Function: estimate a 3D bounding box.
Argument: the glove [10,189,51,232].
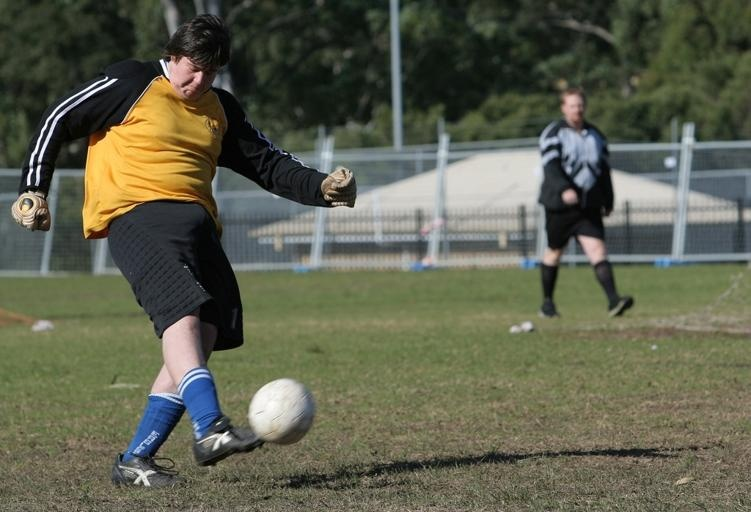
[{"bbox_3d":[-3.384,-0.447,15.479,0.336,0.398,0.196,9,-6,4],"label":"glove"}]

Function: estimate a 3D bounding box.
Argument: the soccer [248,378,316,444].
[{"bbox_3d":[-0.891,1.646,15.660,0.752,0.730,0.709,-8,-6,-15],"label":"soccer"}]

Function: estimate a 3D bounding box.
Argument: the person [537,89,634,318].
[{"bbox_3d":[2.404,-0.617,18.124,0.975,2.709,0.589,0,4,9],"label":"person"}]

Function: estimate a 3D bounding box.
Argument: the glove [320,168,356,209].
[{"bbox_3d":[-0.357,-0.728,15.653,0.351,0.387,0.204,-6,31,-8],"label":"glove"}]
